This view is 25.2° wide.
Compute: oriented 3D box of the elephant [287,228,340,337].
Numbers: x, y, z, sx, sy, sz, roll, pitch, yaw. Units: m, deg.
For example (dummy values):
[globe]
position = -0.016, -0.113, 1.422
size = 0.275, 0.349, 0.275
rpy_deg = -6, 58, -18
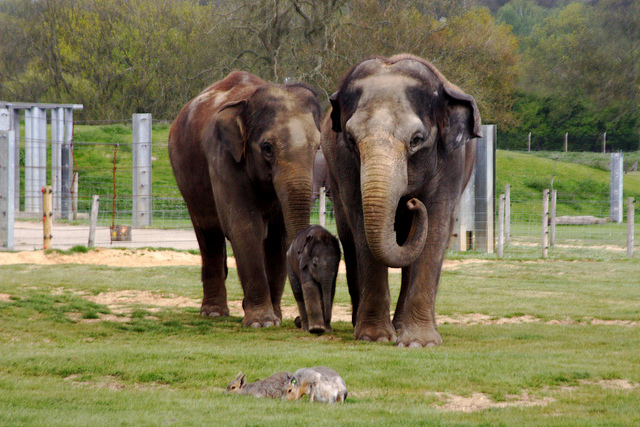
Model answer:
[elephant]
position = -0.278, 2.574, 62.110
size = 1.854, 4.721, 5.639
rpy_deg = -3, 13, -9
